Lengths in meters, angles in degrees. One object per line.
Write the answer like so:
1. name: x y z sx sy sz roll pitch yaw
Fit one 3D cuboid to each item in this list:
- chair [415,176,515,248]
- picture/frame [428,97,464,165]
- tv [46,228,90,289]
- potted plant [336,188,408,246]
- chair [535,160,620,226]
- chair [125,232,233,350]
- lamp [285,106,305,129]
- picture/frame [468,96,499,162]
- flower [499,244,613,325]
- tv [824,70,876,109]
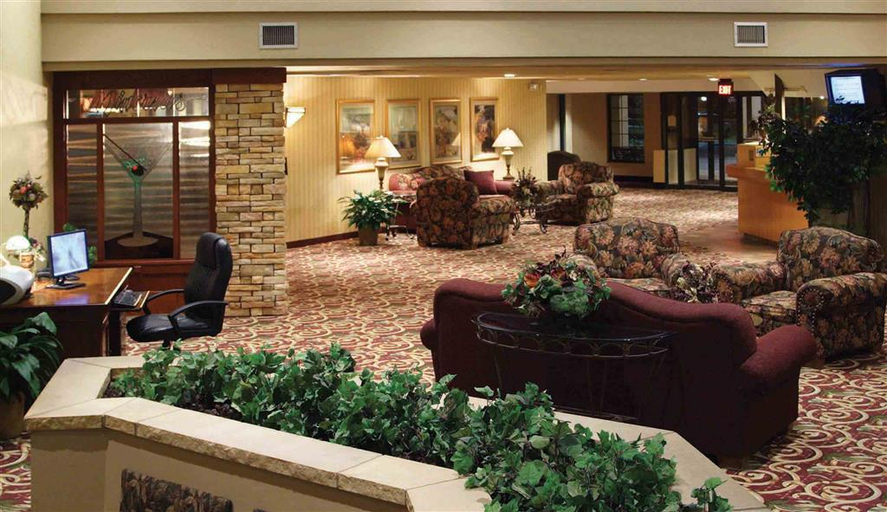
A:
1. chair: 0.427 -1.008 13.500 2.374 1.330 2.130 1 7 -1
2. picture/frame: 0.035 -3.291 15.951 1.126 1.593 0.164 -15 18 -41
3. tv: -4.031 0.044 6.531 0.261 0.568 0.641 1 4 16
4. potted plant: -1.553 -0.803 13.632 1.105 0.856 1.196 -19 -15 36
5. chair: 3.273 -1.666 15.590 1.600 1.434 1.904 -10 14 -38
6. chair: -2.815 0.552 6.467 1.026 1.453 0.978 -4 8 -33
7. lamp: -3.152 -2.956 12.835 0.395 0.428 0.695 -6 14 -13
8. picture/frame: 1.084 -3.512 16.801 0.209 1.634 1.109 9 18 40
9. flower: 0.793 0.208 4.791 0.808 0.363 0.722 -6 0 -24
10. tv: 6.345 -2.638 9.517 0.717 0.570 0.319 7 17 36
